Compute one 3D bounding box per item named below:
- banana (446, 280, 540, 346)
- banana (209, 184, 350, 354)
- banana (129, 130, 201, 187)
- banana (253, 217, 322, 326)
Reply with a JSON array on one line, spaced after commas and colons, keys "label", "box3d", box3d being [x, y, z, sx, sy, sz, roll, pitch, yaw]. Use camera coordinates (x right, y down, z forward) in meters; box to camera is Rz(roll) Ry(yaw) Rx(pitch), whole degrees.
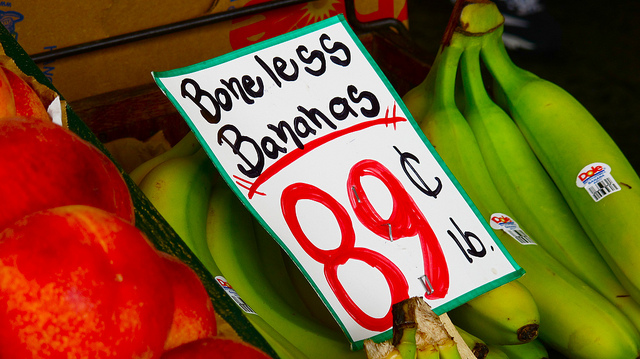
[{"label": "banana", "box3d": [0.356, 0.271, 1.134, 0.175, 0.120, 0.082, 2, 4, 6]}, {"label": "banana", "box3d": [-0.069, 0.177, 1.042, 0.063, 0.313, 0.103, -25, -15, -44]}, {"label": "banana", "box3d": [-0.341, -0.043, 1.193, 0.166, 0.044, 0.043, -40, 17, -26]}, {"label": "banana", "box3d": [-0.071, 0.238, 1.268, 0.098, 0.151, 0.431, -31, -26, -11]}]
